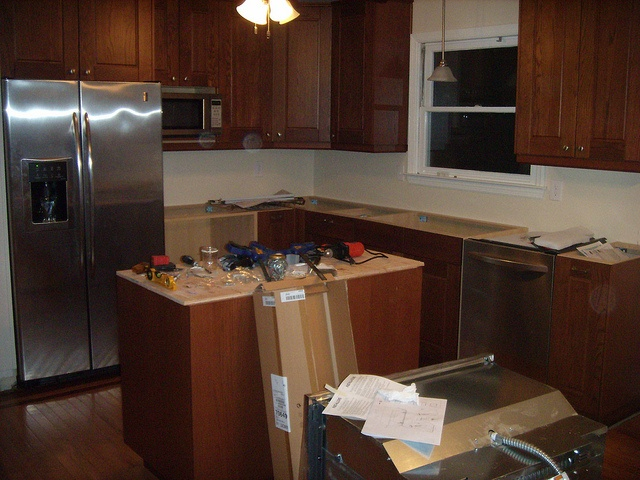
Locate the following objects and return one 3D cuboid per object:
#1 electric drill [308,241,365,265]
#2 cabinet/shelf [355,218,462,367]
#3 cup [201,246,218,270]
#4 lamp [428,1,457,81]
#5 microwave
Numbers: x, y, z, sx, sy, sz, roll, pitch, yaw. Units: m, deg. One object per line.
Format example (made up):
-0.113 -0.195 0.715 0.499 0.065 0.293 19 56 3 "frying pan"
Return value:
0.125 0.067 3.028 0.194 0.067 0.142 -7 17 -33 "electric drill"
0.619 0.380 3.481 0.506 0.906 0.945 -5 12 -29 "cabinet/shelf"
-0.598 0.100 2.937 0.100 0.157 0.108 -1 6 0 "cup"
0.983 -1.582 4.115 0.199 0.684 0.845 3 14 14 "lamp"
-1.153 -1.091 4.696 0.673 0.458 0.427 -7 12 -36 "microwave"
